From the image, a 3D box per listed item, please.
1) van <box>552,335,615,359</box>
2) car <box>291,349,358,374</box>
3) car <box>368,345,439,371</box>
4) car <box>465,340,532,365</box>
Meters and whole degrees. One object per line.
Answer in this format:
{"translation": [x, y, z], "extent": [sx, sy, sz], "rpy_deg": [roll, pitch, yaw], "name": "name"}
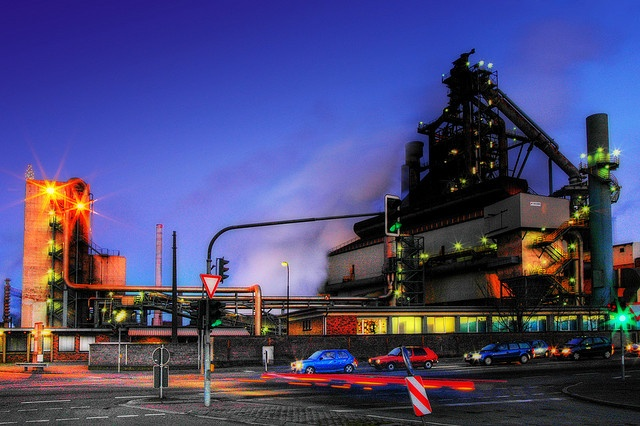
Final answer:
{"translation": [25.354, 12.894, 73.769], "extent": [5.467, 2.261, 1.344], "rpy_deg": [2, -17, -20], "name": "van"}
{"translation": [0.524, 12.471, 63.942], "extent": [5.113, 1.860, 2.156], "rpy_deg": [2, -7, -17], "name": "car"}
{"translation": [7.382, 12.738, 67.219], "extent": [6.737, 2.226, 3.611], "rpy_deg": [2, -9, -16], "name": "car"}
{"translation": [16.526, 12.914, 70.835], "extent": [5.796, 1.815, 2.399], "rpy_deg": [3, -9, -17], "name": "car"}
